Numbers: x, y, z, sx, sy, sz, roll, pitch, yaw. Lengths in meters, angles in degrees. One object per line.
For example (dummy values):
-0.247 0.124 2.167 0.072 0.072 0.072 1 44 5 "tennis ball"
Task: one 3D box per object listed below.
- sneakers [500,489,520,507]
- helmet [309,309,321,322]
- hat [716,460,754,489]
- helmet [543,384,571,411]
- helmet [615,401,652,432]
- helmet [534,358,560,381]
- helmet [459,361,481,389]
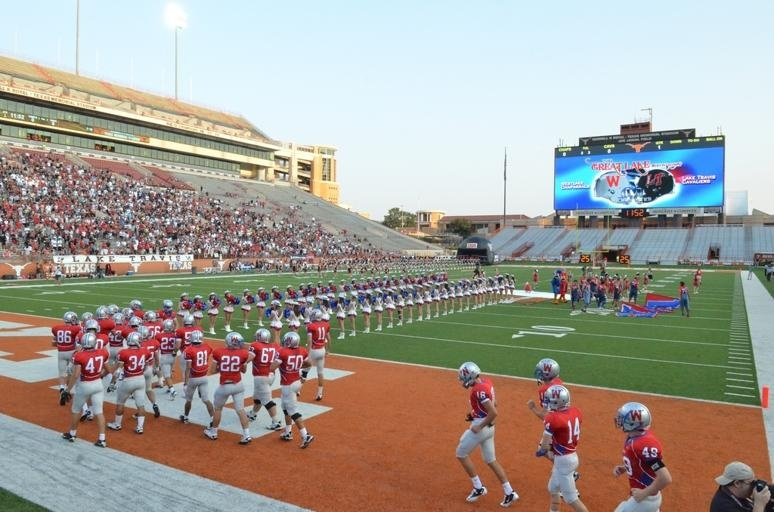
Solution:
2.427 4.723 12.584 0.476 0.212 0.174 -34 -13 20 "sneakers"
-1.755 1.459 16.108 0.243 0.276 0.304 14 21 22 "helmet"
5.785 3.653 10.806 0.662 0.344 0.399 -2 -8 14 "hat"
3.140 2.587 11.942 0.380 0.415 0.495 -3 13 -45 "helmet"
4.334 2.784 11.353 0.642 0.502 0.475 1 1 25 "helmet"
3.059 2.190 12.254 0.411 0.397 0.269 1 14 0 "helmet"
1.613 2.349 12.648 0.356 0.601 0.549 1 14 2 "helmet"
